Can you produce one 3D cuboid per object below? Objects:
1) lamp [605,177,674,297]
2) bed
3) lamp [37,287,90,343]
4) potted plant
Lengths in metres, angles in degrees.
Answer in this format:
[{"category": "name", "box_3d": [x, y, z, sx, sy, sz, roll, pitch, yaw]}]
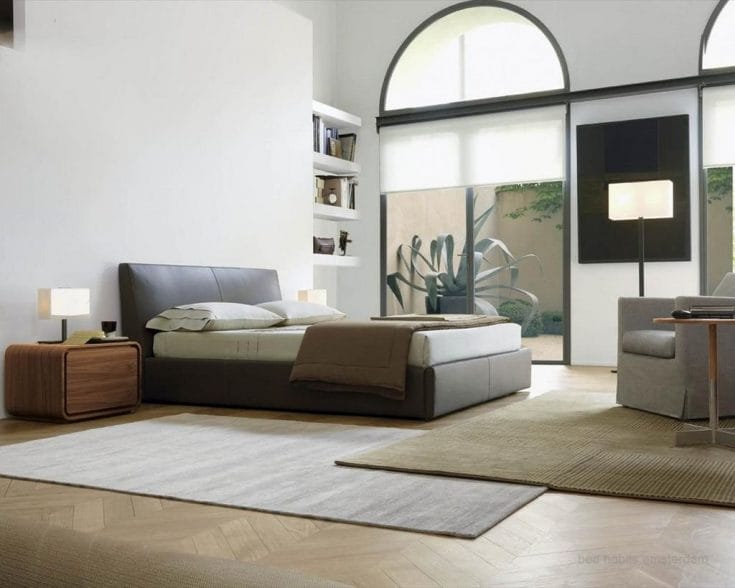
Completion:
[{"category": "lamp", "box_3d": [2.839, -0.333, 6.209, 0.347, 0.864, 0.123, -17, -5, 39]}, {"category": "bed", "box_3d": [-0.472, 0.464, 4.298, 2.027, 0.858, 1.573, -2, -3, 29]}, {"category": "lamp", "box_3d": [-2.053, 0.141, 3.919, 0.361, 0.478, 0.149, 1, 0, -43]}, {"category": "potted plant", "box_3d": [1.235, -0.056, 7.711, 1.923, 1.745, 1.613, 13, -6, -40]}]
